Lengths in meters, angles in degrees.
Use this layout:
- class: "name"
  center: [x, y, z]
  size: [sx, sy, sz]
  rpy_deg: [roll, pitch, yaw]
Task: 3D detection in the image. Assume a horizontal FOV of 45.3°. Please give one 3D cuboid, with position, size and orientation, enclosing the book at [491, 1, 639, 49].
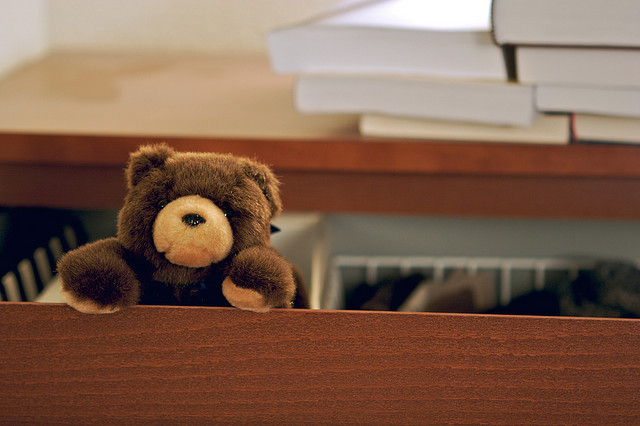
- class: "book"
  center: [0.350, -0.269, 1.079]
  size: [0.200, 0.060, 0.032]
  rpy_deg: [1, -14, 0]

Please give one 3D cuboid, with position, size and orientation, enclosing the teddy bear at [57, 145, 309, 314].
- class: "teddy bear"
  center: [-0.194, 0.027, 1.152]
  size: [0.342, 0.262, 0.218]
  rpy_deg: [2, 0, -2]

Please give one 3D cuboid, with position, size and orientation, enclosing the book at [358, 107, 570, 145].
- class: "book"
  center: [0.212, -0.125, 1.119]
  size: [0.305, 0.053, 0.019]
  rpy_deg: [0, -14, 3]
